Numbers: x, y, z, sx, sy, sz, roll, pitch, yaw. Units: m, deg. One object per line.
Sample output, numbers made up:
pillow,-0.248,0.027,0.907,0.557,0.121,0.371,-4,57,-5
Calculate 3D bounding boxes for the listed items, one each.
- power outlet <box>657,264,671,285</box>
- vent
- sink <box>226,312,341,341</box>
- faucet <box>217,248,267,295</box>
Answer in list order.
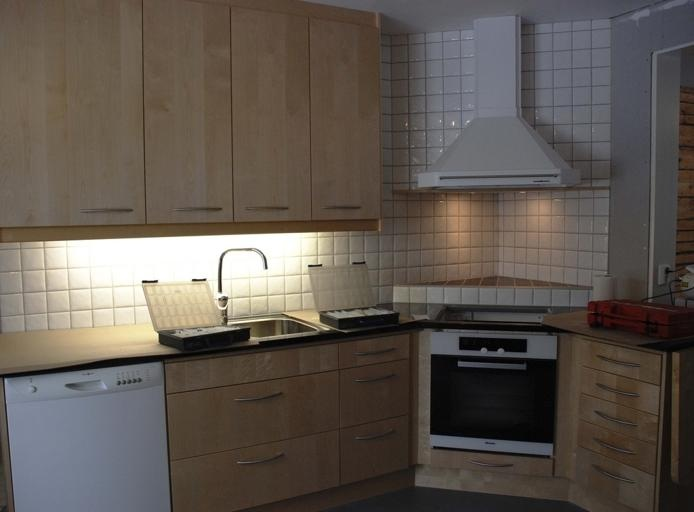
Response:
power outlet,2.014,0.121,3.746,0.083,0.125,0.026,-3,6,-2
vent,1.024,-1.036,4.066,1.105,1.151,1.171,1,3,27
sink,-0.483,0.455,3.746,0.332,0.138,0.279,-4,7,-32
faucet,-0.667,0.094,3.698,0.335,0.287,0.415,-4,6,-8
